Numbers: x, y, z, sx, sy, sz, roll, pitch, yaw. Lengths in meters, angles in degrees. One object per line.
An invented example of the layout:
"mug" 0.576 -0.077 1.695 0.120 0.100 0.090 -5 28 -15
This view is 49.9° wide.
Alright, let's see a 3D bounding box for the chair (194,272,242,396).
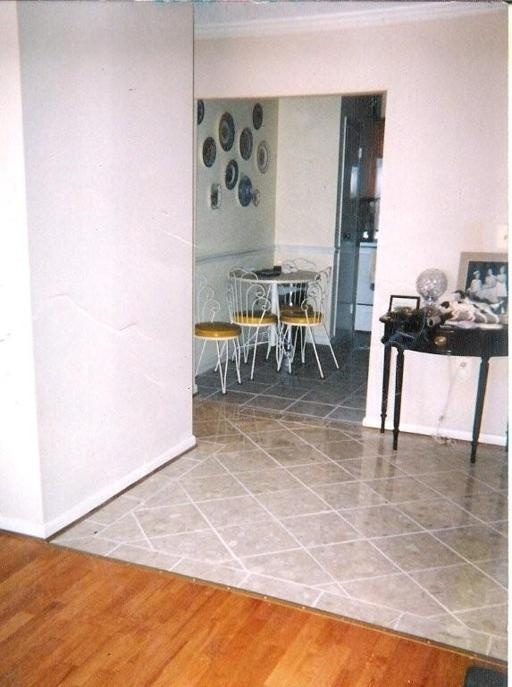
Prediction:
"chair" -0.183 -0.044 2.384 0.202 0.482 0.217 -2 14 -23
